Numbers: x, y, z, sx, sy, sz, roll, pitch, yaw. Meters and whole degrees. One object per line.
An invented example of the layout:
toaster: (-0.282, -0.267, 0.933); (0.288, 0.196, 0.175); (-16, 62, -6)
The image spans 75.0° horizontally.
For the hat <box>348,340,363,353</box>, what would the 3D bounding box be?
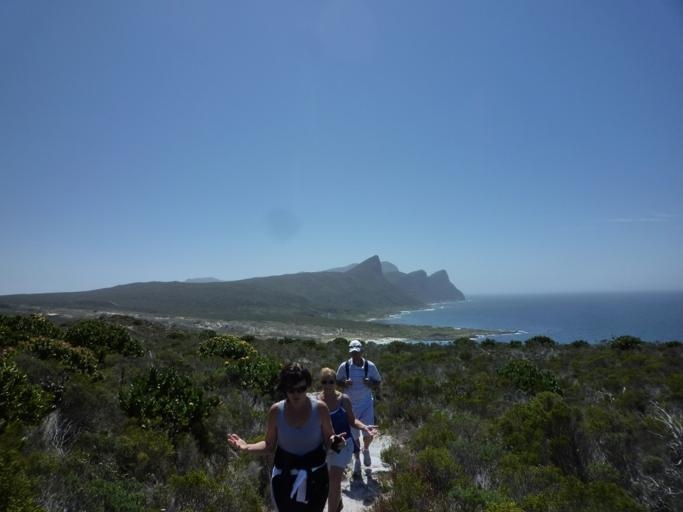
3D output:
hat: (0.323, 2.034, 10.069); (0.214, 0.214, 0.389); (-1, -17, 8)

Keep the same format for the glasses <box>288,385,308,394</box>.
glasses: (-0.655, 2.000, 6.731); (0.289, 0.141, 0.046); (3, -3, -5)

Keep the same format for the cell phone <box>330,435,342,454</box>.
cell phone: (-0.073, 2.877, 6.854); (0.163, 0.259, 0.073); (4, -16, -8)
